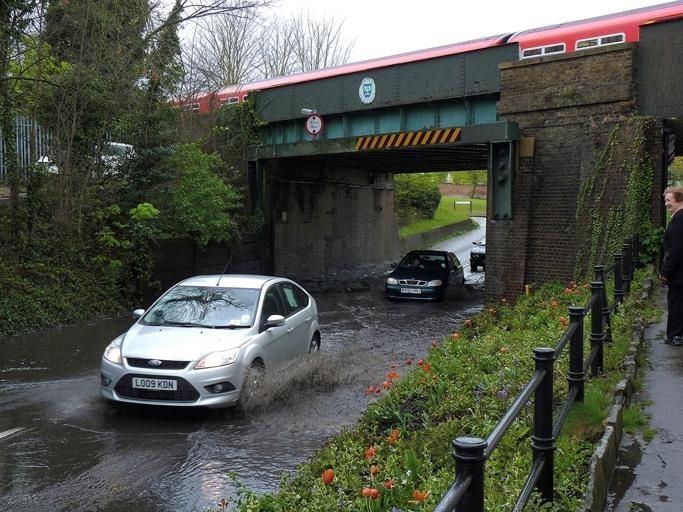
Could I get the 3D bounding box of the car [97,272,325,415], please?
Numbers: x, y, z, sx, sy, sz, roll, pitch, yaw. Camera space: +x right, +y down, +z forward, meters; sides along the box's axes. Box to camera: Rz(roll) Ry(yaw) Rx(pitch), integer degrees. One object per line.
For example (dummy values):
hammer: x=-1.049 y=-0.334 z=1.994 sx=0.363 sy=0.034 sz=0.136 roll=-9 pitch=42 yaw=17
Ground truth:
car: x=-1.860 y=1.348 z=9.677 sx=1.773 sy=1.465 sz=3.044 roll=-2 pitch=-5 yaw=18

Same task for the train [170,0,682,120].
train: x=0.994 y=-7.129 z=22.282 sx=21.163 sy=1.793 sz=4.266 roll=4 pitch=9 yaw=41

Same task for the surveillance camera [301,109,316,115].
surveillance camera: x=-1.392 y=-5.924 z=24.177 sx=0.454 sy=0.229 sz=0.313 roll=6 pitch=11 yaw=0
